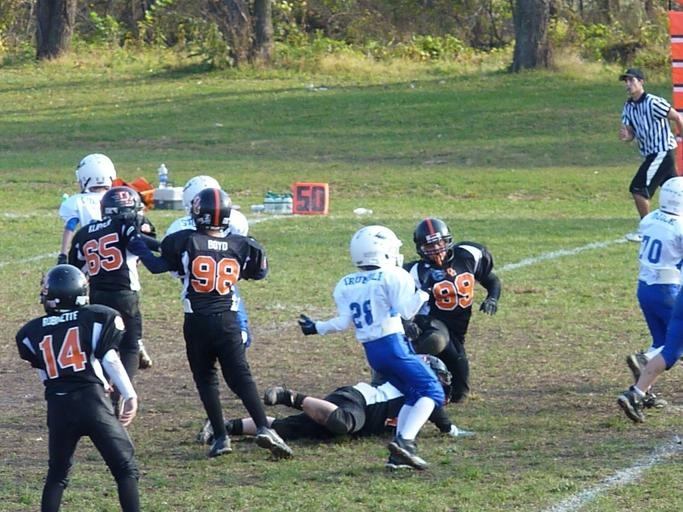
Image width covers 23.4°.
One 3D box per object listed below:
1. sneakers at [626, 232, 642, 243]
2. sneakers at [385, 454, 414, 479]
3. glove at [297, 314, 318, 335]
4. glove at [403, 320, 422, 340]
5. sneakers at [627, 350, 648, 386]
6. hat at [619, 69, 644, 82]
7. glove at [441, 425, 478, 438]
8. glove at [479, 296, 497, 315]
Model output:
[{"bbox_3d":[5.936,-0.423,33.914,0.161,0.122,0.347,-39,16,-8],"label":"sneakers"},{"bbox_3d":[1.004,3.497,28.261,0.612,0.267,0.218,2,12,3],"label":"sneakers"},{"bbox_3d":[-0.592,1.101,28.755,0.177,0.327,0.436,-22,38,-40],"label":"glove"},{"bbox_3d":[1.209,1.232,28.897,0.276,0.346,0.159,12,50,37],"label":"glove"},{"bbox_3d":[5.277,1.949,29.681,0.302,0.603,0.236,-24,5,-21],"label":"sneakers"},{"bbox_3d":[5.897,-3.745,33.834,0.428,0.183,0.289,12,-2,-14],"label":"hat"},{"bbox_3d":[2.027,3.025,29.013,0.654,0.243,0.200,-1,-1,0],"label":"glove"},{"bbox_3d":[2.586,0.855,29.318,0.253,0.150,0.318,11,42,20],"label":"glove"}]
